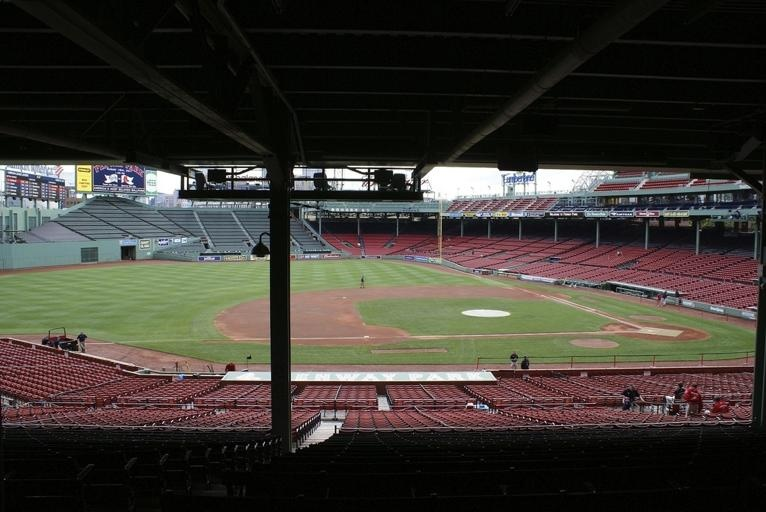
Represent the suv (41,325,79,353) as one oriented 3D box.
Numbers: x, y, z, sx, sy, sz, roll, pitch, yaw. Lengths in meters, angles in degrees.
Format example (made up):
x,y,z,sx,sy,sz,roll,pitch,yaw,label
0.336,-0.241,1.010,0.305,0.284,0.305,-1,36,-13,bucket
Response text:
x,y,z,sx,sy,sz,roll,pitch,yaw,label
-16.507,4.296,35.838,2.559,0.868,1.369,5,1,28,suv
